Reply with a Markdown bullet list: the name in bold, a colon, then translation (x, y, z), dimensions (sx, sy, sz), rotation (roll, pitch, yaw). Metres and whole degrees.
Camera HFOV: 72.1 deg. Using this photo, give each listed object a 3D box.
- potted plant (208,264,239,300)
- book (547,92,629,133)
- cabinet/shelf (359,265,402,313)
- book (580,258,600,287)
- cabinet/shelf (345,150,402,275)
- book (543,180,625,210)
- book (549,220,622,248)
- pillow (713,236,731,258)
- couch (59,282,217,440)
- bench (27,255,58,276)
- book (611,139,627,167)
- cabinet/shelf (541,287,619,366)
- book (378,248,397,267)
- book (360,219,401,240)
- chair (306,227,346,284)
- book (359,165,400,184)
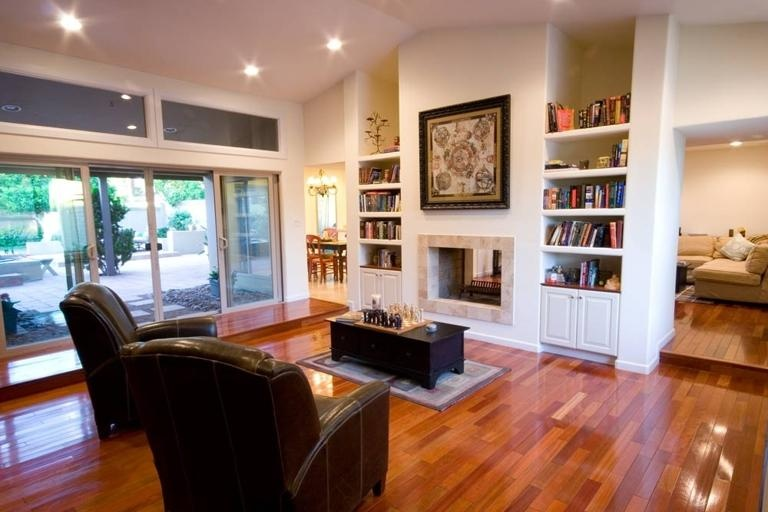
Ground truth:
- **potted plant**: translation (-2.579, 0.413, 8.214), dimensions (0.435, 0.525, 0.491), rotation (0, 2, 30)
- **book**: translation (2.510, -1.727, 6.517), dimensions (0.950, 0.375, 0.552), rotation (1, 7, 21)
- **cabinet/shelf**: translation (-0.138, 0.551, 8.144), dimensions (0.771, 0.653, 0.266), rotation (8, -17, -35)
- **book**: translation (2.562, 0.218, 6.575), dimensions (0.112, 0.288, 0.324), rotation (6, 10, 43)
- **cabinet/shelf**: translation (-0.087, -0.703, 8.209), dimensions (0.858, 1.634, 0.448), rotation (-1, -8, -15)
- **book**: translation (2.430, -0.734, 6.457), dimensions (0.937, 0.303, 0.250), rotation (0, 7, 19)
- **book**: translation (2.444, -0.274, 6.493), dimensions (0.908, 0.314, 0.227), rotation (3, 8, 37)
- **pillow**: translation (6.536, -0.215, 10.280), dimensions (0.125, 0.404, 0.412), rotation (14, -20, 16)
- **couch**: translation (-2.370, 0.895, 5.925), dimensions (1.681, 1.838, 1.376), rotation (-2, 9, -17)
- **bench**: translation (-4.337, 0.097, 6.775), dimensions (0.219, 0.224, 0.356), rotation (1, 3, -37)
- **book**: translation (2.788, -1.223, 6.252), dimensions (0.213, 0.321, 0.130), rotation (3, 9, 38)
- **cabinet/shelf**: translation (2.500, 0.749, 6.692), dimensions (0.954, 0.820, 0.475), rotation (5, 16, 31)
- **book**: translation (0.105, 0.029, 8.224), dimensions (0.245, 0.367, 0.407), rotation (2, 3, 45)
- **book**: translation (0.015, -0.423, 8.151), dimensions (0.786, 0.302, 0.310), rotation (3, 8, 39)
- **chair**: translation (-1.246, 0.029, 11.259), dimensions (1.163, 0.870, 0.760), rotation (8, 14, 39)
- **book**: translation (0.044, -1.261, 8.137), dimensions (0.749, 0.278, 0.467), rotation (3, 8, 35)
